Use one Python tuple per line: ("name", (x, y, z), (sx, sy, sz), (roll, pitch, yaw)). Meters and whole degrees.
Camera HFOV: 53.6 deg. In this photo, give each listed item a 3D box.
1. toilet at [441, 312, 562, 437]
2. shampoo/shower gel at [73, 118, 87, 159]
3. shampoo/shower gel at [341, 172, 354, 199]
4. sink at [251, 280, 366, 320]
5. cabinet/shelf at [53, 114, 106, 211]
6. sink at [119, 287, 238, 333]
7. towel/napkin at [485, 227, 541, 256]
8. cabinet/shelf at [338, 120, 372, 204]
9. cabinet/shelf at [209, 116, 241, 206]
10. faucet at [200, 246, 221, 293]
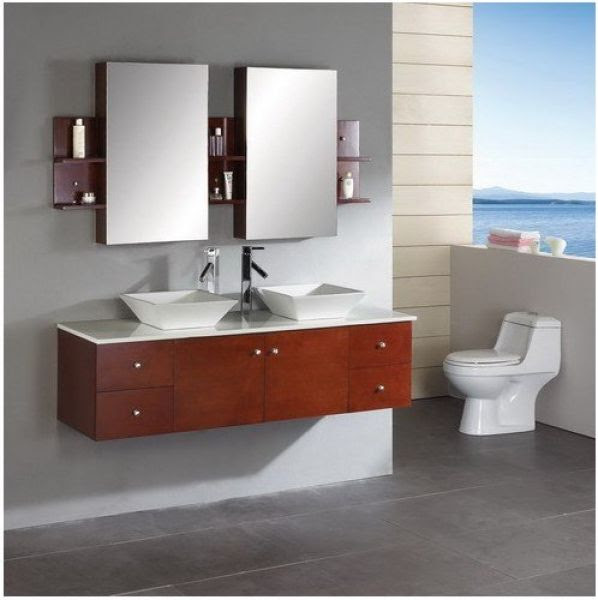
("toilet", (1.279, 0.468, 3.732), (0.691, 0.754, 0.319), (0, 1, -19))
("shampoo/shower gel", (-0.855, -0.630, 2.298), (0.055, 0.170, 0.075), (0, 1, -23))
("shampoo/shower gel", (0.240, -0.563, 2.883), (0.068, 0.139, 0.062), (0, 1, -12))
("sink", (0.034, 0.002, 2.649), (0.422, 0.164, 0.453), (0, 1, -15))
("cabinet/shelf", (-0.854, -0.540, 2.303), (0.189, 0.374, 0.143), (-1, 1, -34))
("sink", (-0.496, 0.035, 2.376), (0.396, 0.153, 0.438), (0, 1, -22))
("towel/napkin", (1.478, -0.408, 4.091), (0.344, 0.188, 0.330), (0, 1, 19))
("cabinet/shelf", (0.223, -0.679, 2.834), (0.202, 0.387, 0.118), (-10, 14, -29))
("cabinet/shelf", (-0.329, -0.618, 2.611), (0.170, 0.396, 0.139), (-1, 1, -28))
("faucet", (-0.396, -0.134, 2.604), (0.102, 0.204, 0.141), (0, 1, -10))
